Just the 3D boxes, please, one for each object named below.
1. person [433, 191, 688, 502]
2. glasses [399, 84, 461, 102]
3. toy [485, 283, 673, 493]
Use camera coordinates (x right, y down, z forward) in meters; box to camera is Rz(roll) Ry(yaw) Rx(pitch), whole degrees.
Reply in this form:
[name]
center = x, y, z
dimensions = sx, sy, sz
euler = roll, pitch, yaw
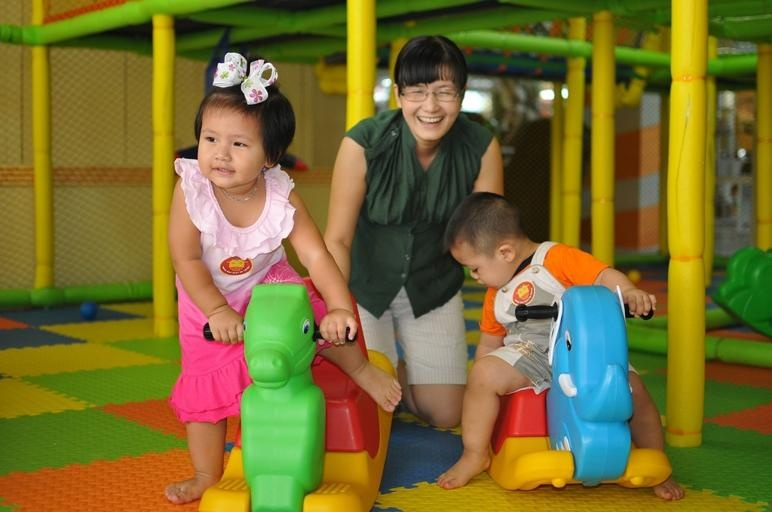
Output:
[person]
center = 0.683, 0.326, 3.335
dimensions = 0.767, 1.139, 1.032
euler = -14, 7, -40
[glasses]
center = 0.199, -0.716, 3.555
dimensions = 0.252, 0.071, 0.044
euler = 2, 6, 7
[toy]
center = 0.723, 0.536, 3.449
dimensions = 0.610, 0.685, 0.885
euler = 0, 3, -3
